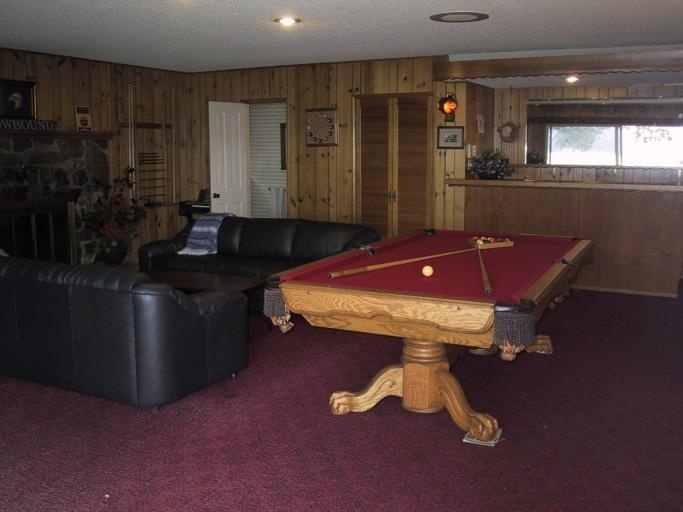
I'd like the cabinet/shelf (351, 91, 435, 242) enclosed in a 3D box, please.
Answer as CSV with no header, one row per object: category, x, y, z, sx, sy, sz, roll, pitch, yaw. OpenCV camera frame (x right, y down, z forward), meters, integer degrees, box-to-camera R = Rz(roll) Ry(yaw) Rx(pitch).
cabinet/shelf,0.755,-1.336,7.663,1.161,2.087,0.445,1,13,14

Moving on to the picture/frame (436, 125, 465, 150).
picture/frame,1.539,-1.672,7.254,0.409,0.330,0.028,1,-1,22

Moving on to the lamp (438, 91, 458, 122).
lamp,1.472,-2.059,7.181,0.260,0.403,0.216,1,13,13

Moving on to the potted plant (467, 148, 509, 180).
potted plant,2.026,-1.268,7.199,0.534,0.388,0.650,1,12,13

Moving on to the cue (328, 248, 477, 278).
cue,0.430,0.055,3.618,0.085,0.076,2.174,-13,-6,43
